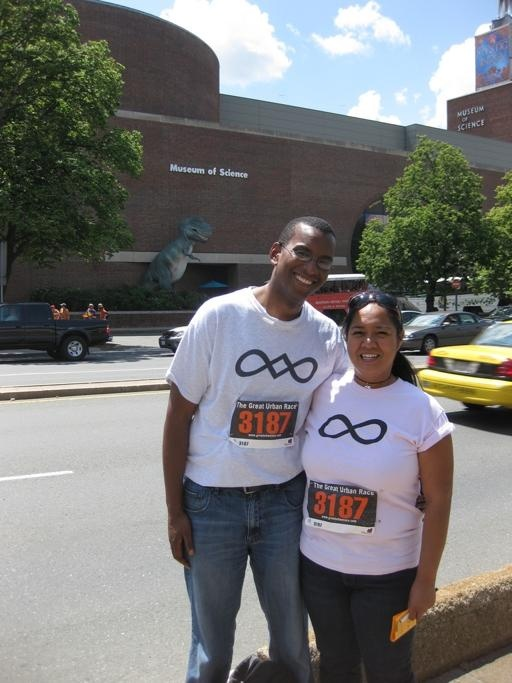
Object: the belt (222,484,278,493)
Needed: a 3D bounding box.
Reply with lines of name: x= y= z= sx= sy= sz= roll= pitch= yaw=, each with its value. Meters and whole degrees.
belt: x=-0.014 y=0.471 z=2.295 sx=0.175 sy=0.025 sz=0.024 roll=0 pitch=4 yaw=-14
